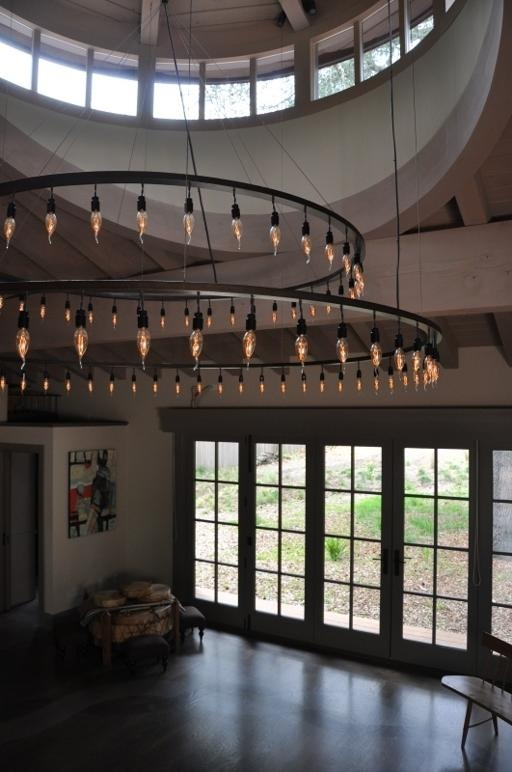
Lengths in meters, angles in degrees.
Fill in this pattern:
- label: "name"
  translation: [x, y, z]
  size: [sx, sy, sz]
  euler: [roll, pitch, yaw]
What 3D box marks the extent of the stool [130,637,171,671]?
- label: "stool"
  translation: [-1.015, 2.495, 5.873]
  size: [0.361, 0.331, 0.517]
  euler: [1, -4, -14]
